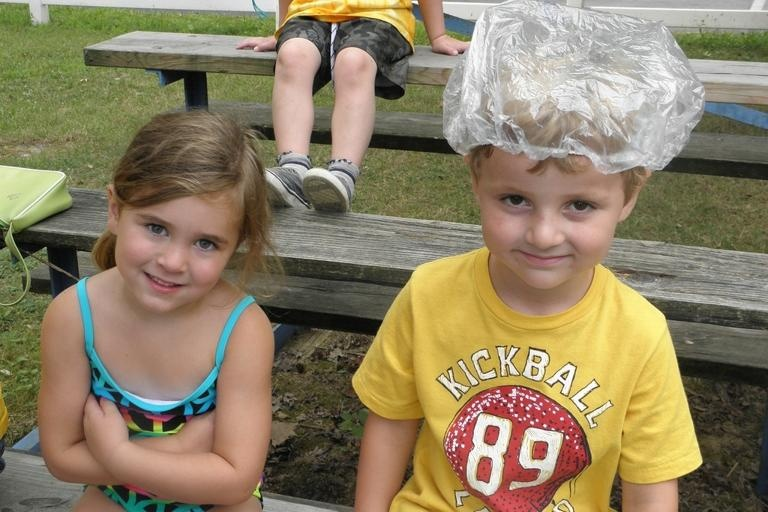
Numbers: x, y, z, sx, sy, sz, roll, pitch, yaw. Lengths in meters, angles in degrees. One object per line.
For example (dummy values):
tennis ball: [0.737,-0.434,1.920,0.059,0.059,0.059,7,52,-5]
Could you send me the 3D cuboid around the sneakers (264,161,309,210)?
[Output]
sneakers: [-0.387,-0.271,2.838,0.093,0.119,0.275,-25,-13,7]
